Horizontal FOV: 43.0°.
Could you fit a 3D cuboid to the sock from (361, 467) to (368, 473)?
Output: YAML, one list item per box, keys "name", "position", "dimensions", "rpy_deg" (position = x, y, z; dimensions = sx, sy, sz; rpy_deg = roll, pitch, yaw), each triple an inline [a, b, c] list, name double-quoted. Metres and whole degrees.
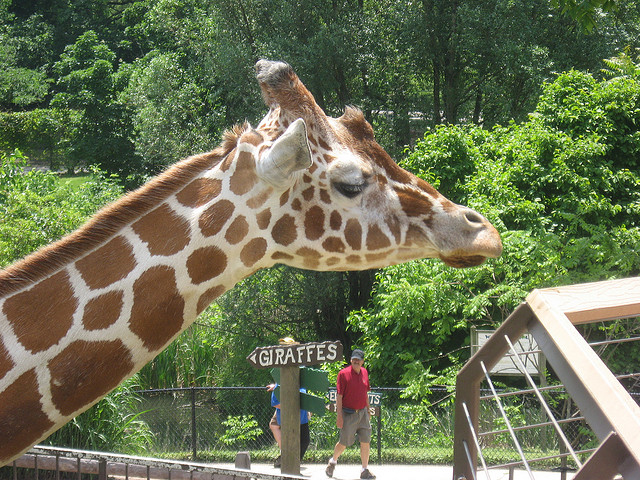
- name: "sock"
  position: [0.854, 4.407, 15.654]
  dimensions: [0.124, 0.119, 0.106]
  rpy_deg: [-4, 21, 2]

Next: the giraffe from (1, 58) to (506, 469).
- name: "giraffe"
  position: [-1.580, -0.360, 11.711]
  dimensions: [8.639, 4.866, 3.270]
  rpy_deg: [-10, 13, -11]

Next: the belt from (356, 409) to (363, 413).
- name: "belt"
  position: [0.725, 3.188, 15.131]
  dimensions: [0.032, 0.043, 0.134]
  rpy_deg: [-1, 0, 36]

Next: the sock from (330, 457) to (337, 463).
- name: "sock"
  position: [0.255, 4.298, 15.812]
  dimensions: [0.110, 0.097, 0.121]
  rpy_deg: [2, -6, 11]
